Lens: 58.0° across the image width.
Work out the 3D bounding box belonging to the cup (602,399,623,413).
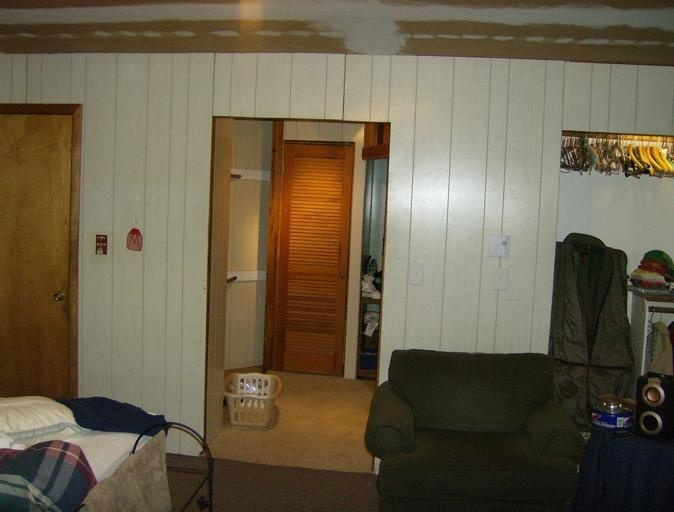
[{"bbox_3d":[1.717,0.945,3.790,0.112,0.042,0.086,9,12,24],"label":"cup"}]
